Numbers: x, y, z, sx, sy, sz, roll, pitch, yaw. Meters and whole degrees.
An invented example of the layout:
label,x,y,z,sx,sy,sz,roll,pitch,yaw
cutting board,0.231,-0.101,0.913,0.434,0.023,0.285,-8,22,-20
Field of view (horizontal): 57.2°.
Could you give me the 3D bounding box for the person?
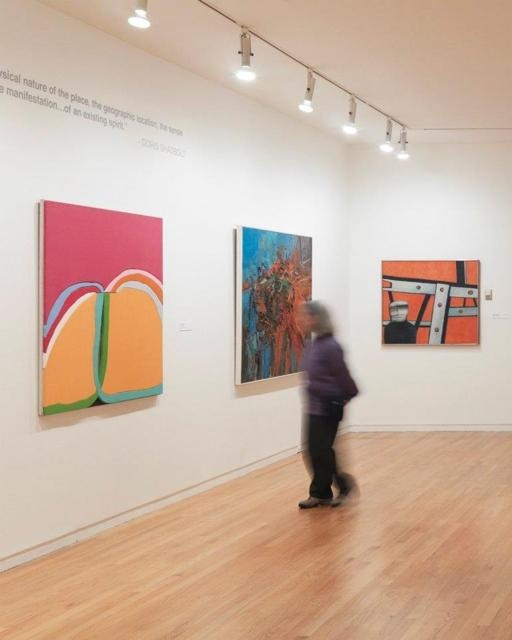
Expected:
label,x,y,z,sx,sy,sz,roll,pitch,yaw
person,0.582,0.719,3.905,0.459,1.687,0.542,-1,-5,3
